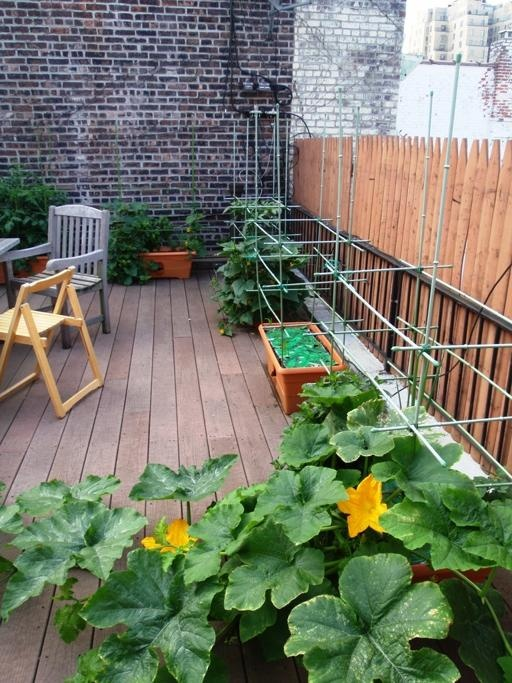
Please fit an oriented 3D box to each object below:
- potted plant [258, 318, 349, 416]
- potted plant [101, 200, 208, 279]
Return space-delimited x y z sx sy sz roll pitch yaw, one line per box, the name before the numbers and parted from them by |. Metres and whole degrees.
potted plant | 0.252 0.122 2.898 0.387 0.260 0.697 -6 26 -10
potted plant | -1.298 -1.153 5.603 1.092 0.762 1.042 -7 37 -7
